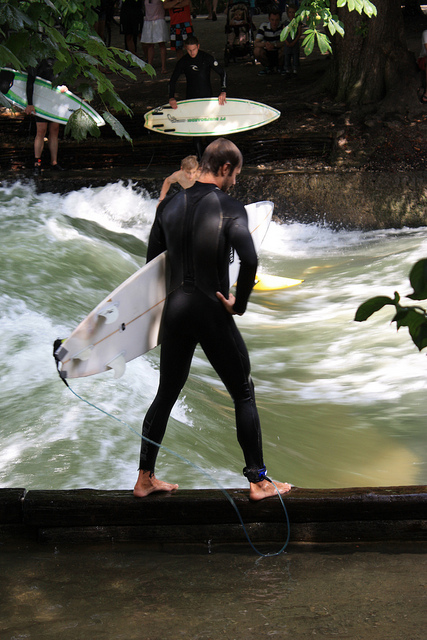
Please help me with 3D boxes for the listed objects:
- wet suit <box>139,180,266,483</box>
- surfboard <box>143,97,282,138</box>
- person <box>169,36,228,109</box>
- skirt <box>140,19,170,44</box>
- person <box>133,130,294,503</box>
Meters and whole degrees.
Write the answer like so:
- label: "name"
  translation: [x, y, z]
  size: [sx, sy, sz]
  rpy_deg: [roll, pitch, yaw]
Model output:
- label: "wet suit"
  translation: [-0.063, 0.053, 2.835]
  size: [0.564, 1.265, 0.235]
  rpy_deg: [1, 8, 20]
- label: "surfboard"
  translation: [-0.119, -3.124, 10.350]
  size: [2.236, 0.562, 0.234]
  rpy_deg: [10, 23, 34]
- label: "person"
  translation: [-0.232, -3.514, 9.376]
  size: [0.819, 0.705, 1.437]
  rpy_deg: [-2, 6, -2]
- label: "skirt"
  translation: [-1.169, -5.719, 13.330]
  size: [0.497, 0.438, 0.571]
  rpy_deg: [-2, 6, -6]
- label: "person"
  translation: [-0.042, 0.028, 2.865]
  size: [0.603, 1.542, 0.306]
  rpy_deg: [2, 8, 23]
